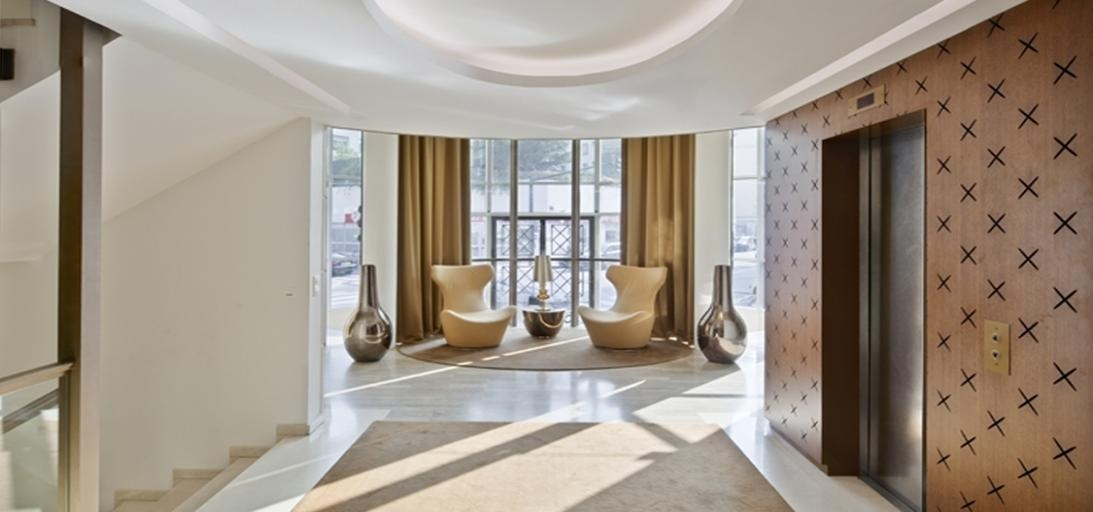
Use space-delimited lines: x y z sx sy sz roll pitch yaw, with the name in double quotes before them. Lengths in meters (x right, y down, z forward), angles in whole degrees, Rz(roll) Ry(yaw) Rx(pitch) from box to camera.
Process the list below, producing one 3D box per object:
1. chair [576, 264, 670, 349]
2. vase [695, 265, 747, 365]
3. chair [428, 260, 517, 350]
"chair" 1.078 0.685 9.373 1.221 0.891 1.116 1 8 24
"vase" 2.258 0.761 8.724 0.609 1.283 0.326 -2 0 9
"chair" -1.001 0.669 9.464 1.130 0.961 1.017 0 8 -15
